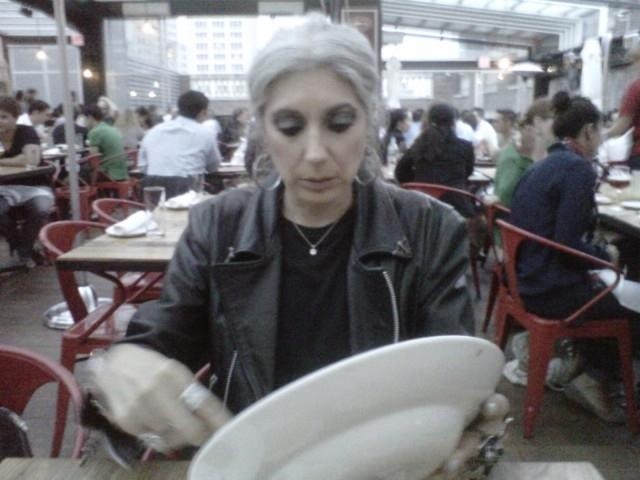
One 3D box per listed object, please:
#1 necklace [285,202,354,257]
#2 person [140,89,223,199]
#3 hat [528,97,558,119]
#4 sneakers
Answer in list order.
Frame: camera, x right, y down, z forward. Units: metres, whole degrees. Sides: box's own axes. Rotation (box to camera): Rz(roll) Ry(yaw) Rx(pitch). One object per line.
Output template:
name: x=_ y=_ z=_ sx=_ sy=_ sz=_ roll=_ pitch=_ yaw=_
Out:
necklace: x=-0.018 y=-0.039 z=1.371 sx=0.154 sy=0.042 sz=0.082 roll=2 pitch=41 yaw=4
person: x=-1.412 y=-0.802 z=5.628 sx=0.773 sy=1.438 sz=0.712 roll=-18 pitch=28 yaw=-38
hat: x=1.519 y=-0.915 z=3.607 sx=0.124 sy=0.161 sz=0.165 roll=11 pitch=-14 yaw=15
sneakers: x=1.594 y=0.839 z=3.068 sx=0.219 sy=0.142 sz=0.396 roll=-33 pitch=-12 yaw=6
